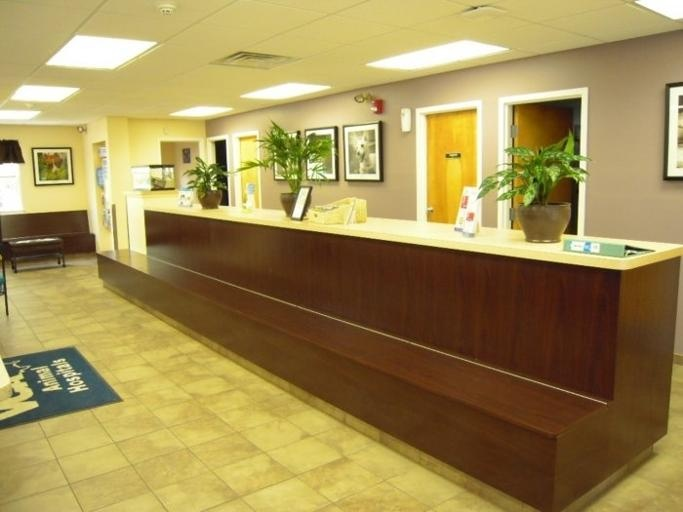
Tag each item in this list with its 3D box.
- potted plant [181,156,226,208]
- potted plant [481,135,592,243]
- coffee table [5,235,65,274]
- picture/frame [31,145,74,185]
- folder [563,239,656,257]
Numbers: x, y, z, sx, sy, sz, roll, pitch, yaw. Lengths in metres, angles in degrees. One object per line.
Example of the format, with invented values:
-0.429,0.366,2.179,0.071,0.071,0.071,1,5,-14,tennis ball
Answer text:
-1.584,-0.843,5.794,0.392,0.603,0.619,-6,13,-17,potted plant
1.134,-0.399,2.972,0.560,0.634,0.345,2,13,20,potted plant
-6.218,-0.072,10.020,0.996,0.566,1.253,-10,14,-33,coffee table
-6.195,-1.944,10.563,0.037,0.940,0.923,9,7,44,picture/frame
1.493,-0.043,2.706,0.503,0.082,0.228,-3,12,-5,folder
